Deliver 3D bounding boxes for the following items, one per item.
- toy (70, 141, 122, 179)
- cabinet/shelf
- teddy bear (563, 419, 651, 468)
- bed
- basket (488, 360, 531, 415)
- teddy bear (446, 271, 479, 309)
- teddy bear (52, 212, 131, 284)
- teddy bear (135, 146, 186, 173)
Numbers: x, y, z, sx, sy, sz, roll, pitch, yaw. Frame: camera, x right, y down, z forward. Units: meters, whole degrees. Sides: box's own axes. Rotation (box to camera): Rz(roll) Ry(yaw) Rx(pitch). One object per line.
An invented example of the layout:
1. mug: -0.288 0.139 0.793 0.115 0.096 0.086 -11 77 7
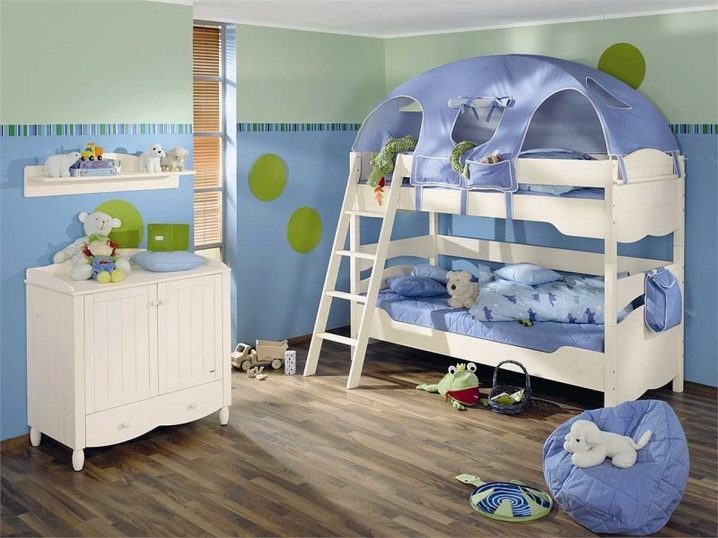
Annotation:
1. toy: -1.822 -0.744 4.126 0.280 0.182 0.273 -4 9 -32
2. cabinet/shelf: -1.551 0.601 4.082 1.364 1.171 0.600 -7 15 -27
3. teddy bear: 1.381 0.972 3.338 0.373 0.157 0.248 1 2 12
4. bed: 1.097 -0.043 5.203 2.569 1.653 1.461 6 10 33
5. basket: 1.172 0.932 4.675 0.363 0.434 0.331 5 12 32
6. teddy bear: 0.880 0.185 5.186 0.242 0.246 0.349 -12 -3 28
7. teddy bear: -1.876 -0.140 4.098 0.541 0.492 0.343 2 -2 -43
8. teddy bear: -1.481 -0.805 4.428 0.243 0.168 0.336 4 5 33
